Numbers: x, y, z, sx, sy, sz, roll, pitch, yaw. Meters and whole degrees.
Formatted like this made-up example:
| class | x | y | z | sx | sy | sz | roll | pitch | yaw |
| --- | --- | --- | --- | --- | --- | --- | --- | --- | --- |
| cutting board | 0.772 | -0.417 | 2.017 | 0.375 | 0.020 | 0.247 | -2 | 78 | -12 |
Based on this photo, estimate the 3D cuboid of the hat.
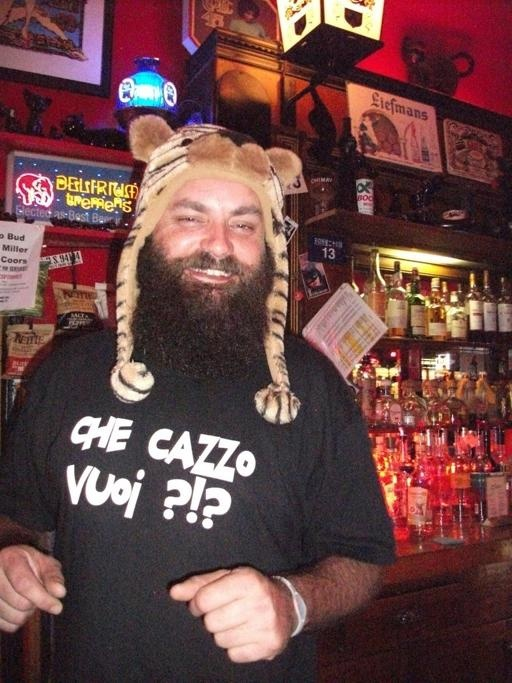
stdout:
| class | x | y | z | sx | sy | sz | roll | pitch | yaw |
| --- | --- | --- | --- | --- | --- | --- | --- | --- | --- |
| hat | -0.141 | -0.134 | 1.508 | 0.454 | 0.657 | 0.225 | 6 | -16 | -12 |

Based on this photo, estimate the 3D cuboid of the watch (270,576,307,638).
| class | x | y | z | sx | sy | sz | roll | pitch | yaw |
| --- | --- | --- | --- | --- | --- | --- | --- | --- | --- |
| watch | 0.066 | 0.450 | 1.072 | 0.027 | 0.085 | 0.088 | -23 | 8 | -27 |
